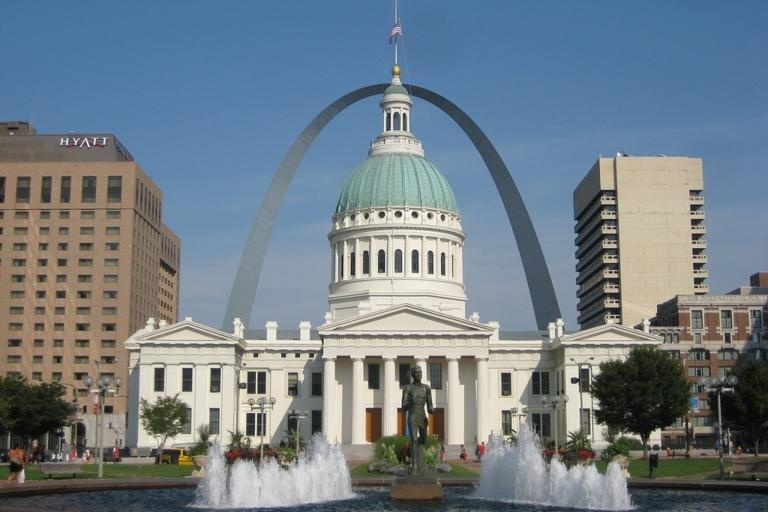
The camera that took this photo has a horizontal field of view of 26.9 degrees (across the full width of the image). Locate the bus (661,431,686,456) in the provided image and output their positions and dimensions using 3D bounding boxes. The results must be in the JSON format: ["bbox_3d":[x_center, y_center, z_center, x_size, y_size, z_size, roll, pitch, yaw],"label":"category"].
[{"bbox_3d":[40.277,25.857,223.311,3.168,3.957,10.126,-4,-17,9],"label":"bus"}]
